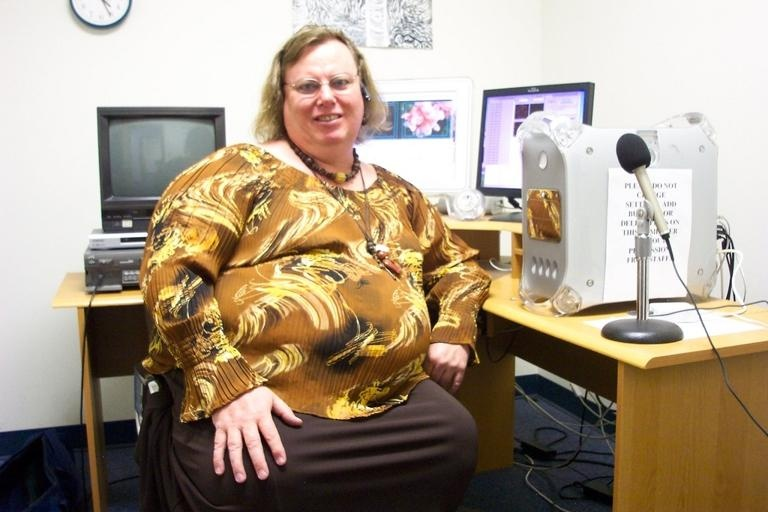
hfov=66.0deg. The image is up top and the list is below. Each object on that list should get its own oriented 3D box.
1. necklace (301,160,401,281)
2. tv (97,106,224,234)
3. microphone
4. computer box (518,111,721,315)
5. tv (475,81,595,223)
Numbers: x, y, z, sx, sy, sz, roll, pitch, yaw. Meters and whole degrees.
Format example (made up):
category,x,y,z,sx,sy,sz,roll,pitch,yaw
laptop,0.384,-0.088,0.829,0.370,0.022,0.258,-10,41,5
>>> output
category,x,y,z,sx,sy,sz,roll,pitch,yaw
necklace,-0.089,-0.139,1.898,0.172,0.032,0.593,-7,49,-24
tv,-0.971,-0.459,2.507,0.567,0.549,0.345,-8,41,-29
microphone,0.729,-0.198,1.671,0.130,0.296,0.193,0,7,22
computer box,0.720,-0.138,2.058,0.595,0.605,0.631,-2,4,18
tv,0.632,-0.447,2.515,0.501,0.524,0.158,11,13,43
